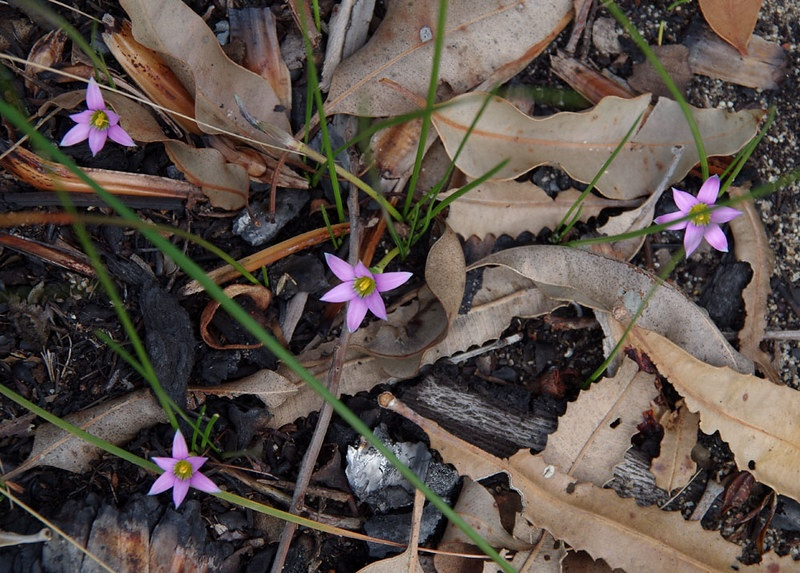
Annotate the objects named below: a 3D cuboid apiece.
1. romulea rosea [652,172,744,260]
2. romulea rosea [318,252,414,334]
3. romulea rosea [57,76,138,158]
[{"bbox_3d":[1.274,-0.337,3.149,0.319,0.336,0.177,1,66,-40],"label":"romulea rosea"},{"bbox_3d":[-0.129,0.047,2.890,0.316,0.279,0.245,6,71,3],"label":"romulea rosea"},{"bbox_3d":[-1.262,-0.702,3.073,0.271,0.137,0.370,-23,75,-25],"label":"romulea rosea"}]
